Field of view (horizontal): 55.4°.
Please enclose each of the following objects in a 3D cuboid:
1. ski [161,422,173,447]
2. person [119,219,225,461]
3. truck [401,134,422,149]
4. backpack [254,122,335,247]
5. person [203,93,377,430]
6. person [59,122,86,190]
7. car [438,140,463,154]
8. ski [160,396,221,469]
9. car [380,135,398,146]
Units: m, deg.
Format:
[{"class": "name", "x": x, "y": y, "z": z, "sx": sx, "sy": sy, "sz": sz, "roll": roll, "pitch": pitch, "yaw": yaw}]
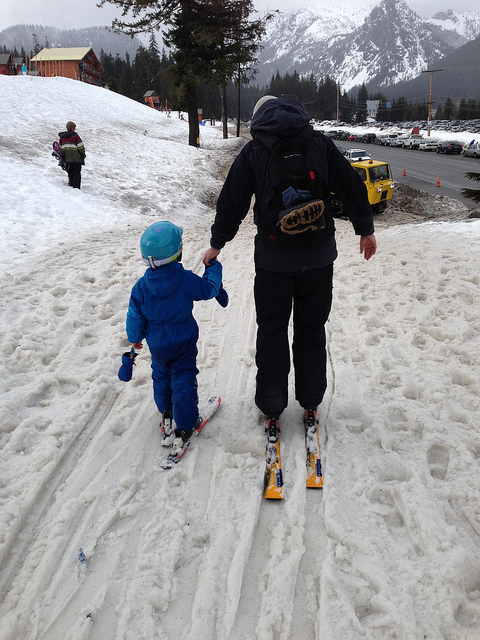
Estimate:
[{"class": "ski", "x": -0.484, "y": 0.772, "z": 3.032, "sx": 0.047, "sy": 0.077, "sz": 0.161, "roll": -1, "pitch": 14, "yaw": -1}, {"class": "person", "x": -0.466, "y": 0.086, "z": 3.069, "sx": 0.605, "sy": 1.587, "sz": 0.470, "roll": -1, "pitch": 23, "yaw": -5}, {"class": "truck", "x": 17.575, "y": -18.021, "z": 46.250, "sx": 1.011, "sy": 1.312, "sz": 3.924, "roll": 1, "pitch": 24, "yaw": 5}, {"class": "backpack", "x": 0.292, "y": -0.750, "z": 2.517, "sx": 0.388, "sy": 0.658, "sz": 0.346, "roll": -11, "pitch": 27, "yaw": -5}, {"class": "person", "x": 0.329, "y": -0.359, "z": 2.892, "sx": 0.932, "sy": 2.096, "sz": 0.688, "roll": -2, "pitch": 24, "yaw": 4}, {"class": "person", "x": -3.824, "y": -3.742, "z": 10.450, "sx": 0.516, "sy": 1.414, "sz": 0.837, "roll": -9, "pitch": 23, "yaw": -21}, {"class": "car", "x": 18.589, "y": -15.234, "z": 40.280, "sx": 0.785, "sy": 0.999, "sz": 2.359, "roll": -7, "pitch": 25, "yaw": -15}, {"class": "ski", "x": -0.308, "y": 0.743, "z": 3.117, "sx": 0.122, "sy": 0.114, "sz": 0.931, "roll": 10, "pitch": 24, "yaw": 13}, {"class": "car", "x": 17.110, "y": -20.982, "z": 52.924, "sx": 0.708, "sy": 0.824, "sz": 1.816, "roll": -4, "pitch": 32, "yaw": -2}]
